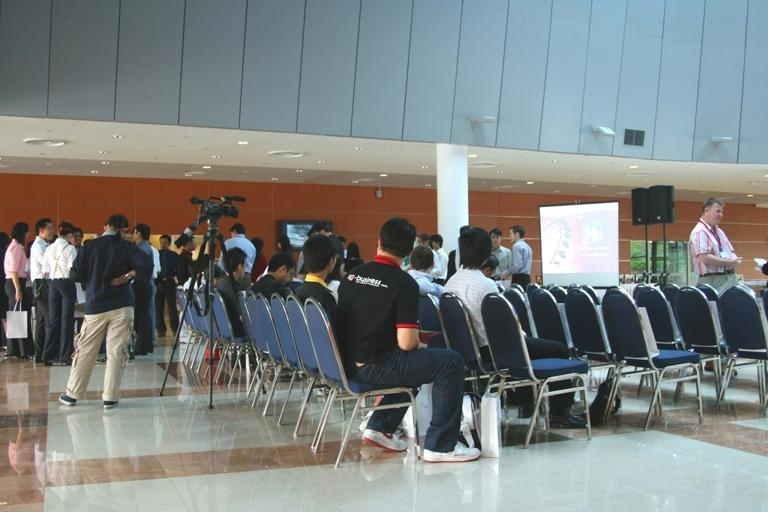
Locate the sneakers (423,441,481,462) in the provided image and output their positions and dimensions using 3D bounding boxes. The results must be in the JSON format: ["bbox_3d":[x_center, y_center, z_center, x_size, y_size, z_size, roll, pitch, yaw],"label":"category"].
[{"bbox_3d":[0.700,2.007,7.300,0.568,0.253,0.215,-2,-5,-7],"label":"sneakers"}]

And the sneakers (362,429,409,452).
[{"bbox_3d":[-0.013,1.927,7.620,0.523,0.247,0.191,14,-8,-8],"label":"sneakers"}]

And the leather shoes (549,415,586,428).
[{"bbox_3d":[2.087,1.879,8.093,0.387,0.167,0.146,-4,-8,11],"label":"leather shoes"}]

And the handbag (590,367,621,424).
[{"bbox_3d":[2.582,1.620,8.400,0.220,0.726,0.284,10,-12,46],"label":"handbag"}]

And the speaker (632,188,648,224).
[{"bbox_3d":[5.187,-1.019,14.408,0.288,0.765,0.371,2,10,20],"label":"speaker"}]

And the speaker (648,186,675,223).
[{"bbox_3d":[5.440,-1.029,13.998,0.486,0.757,0.445,2,10,19],"label":"speaker"}]

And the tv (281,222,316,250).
[{"bbox_3d":[-2.260,-0.564,18.136,1.016,0.870,0.105,2,-6,-27],"label":"tv"}]
